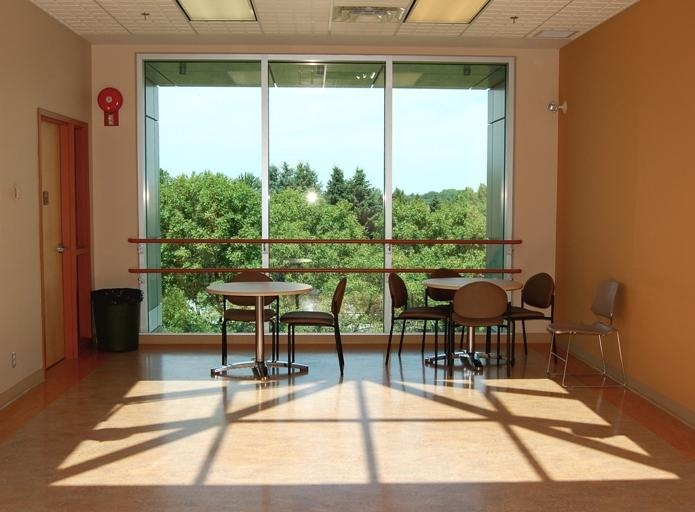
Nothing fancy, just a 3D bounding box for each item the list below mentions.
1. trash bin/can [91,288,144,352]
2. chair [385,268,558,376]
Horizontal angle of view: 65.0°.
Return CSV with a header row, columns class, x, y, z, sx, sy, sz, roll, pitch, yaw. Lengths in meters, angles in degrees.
class,x,y,z,sx,sy,sz,roll,pitch,yaw
trash bin/can,-2.892,0.835,7.421,0.760,0.890,0.771,-3,1,1
chair,1.500,0.690,6.742,1.479,0.781,1.457,0,3,-3
